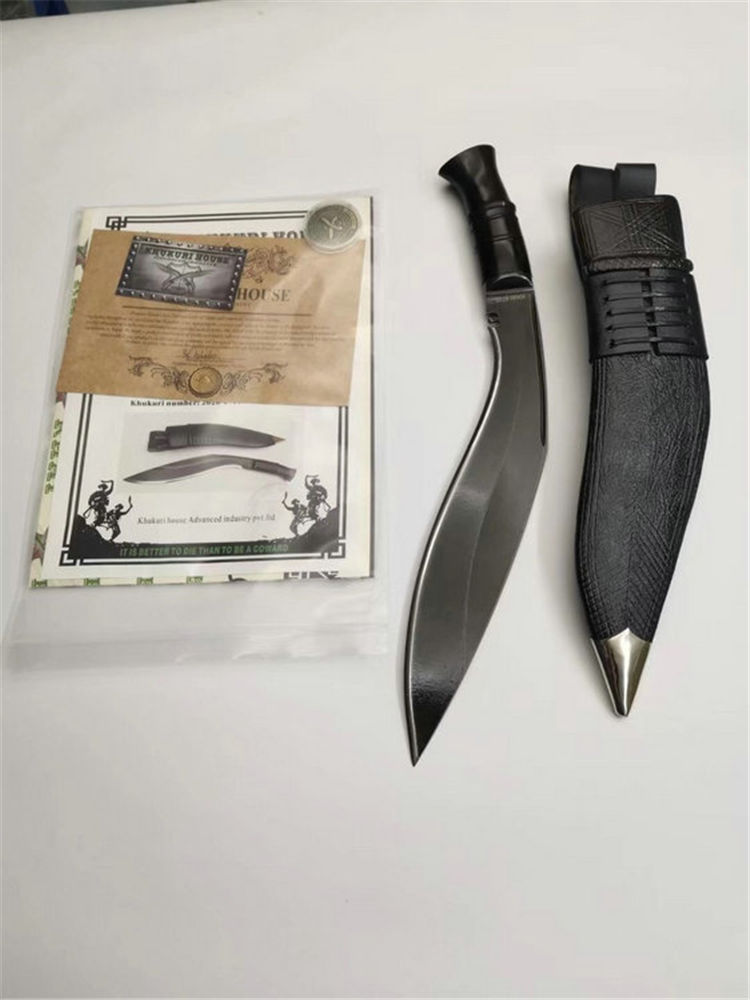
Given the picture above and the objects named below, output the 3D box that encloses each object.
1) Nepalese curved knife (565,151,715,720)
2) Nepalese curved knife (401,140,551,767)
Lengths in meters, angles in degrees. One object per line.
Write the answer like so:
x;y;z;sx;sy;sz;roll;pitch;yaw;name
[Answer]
0.280;-0.062;1.024;0.143;0.581;0.078;-2;-10;-1;Nepalese curved knife
0.115;-0.065;1.014;0.137;0.688;0.090;3;-17;4;Nepalese curved knife
